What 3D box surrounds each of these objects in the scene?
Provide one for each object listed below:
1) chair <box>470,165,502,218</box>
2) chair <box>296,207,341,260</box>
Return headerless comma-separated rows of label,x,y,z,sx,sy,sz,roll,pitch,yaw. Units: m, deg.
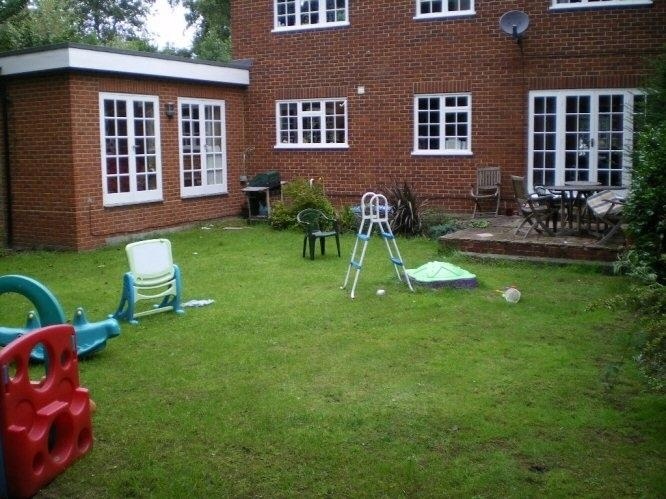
chair,4.029,-1.569,15.015,0.856,1.145,0.911,6,-7,-24
chair,-0.307,-0.342,11.212,0.758,0.947,0.723,-5,7,-13
